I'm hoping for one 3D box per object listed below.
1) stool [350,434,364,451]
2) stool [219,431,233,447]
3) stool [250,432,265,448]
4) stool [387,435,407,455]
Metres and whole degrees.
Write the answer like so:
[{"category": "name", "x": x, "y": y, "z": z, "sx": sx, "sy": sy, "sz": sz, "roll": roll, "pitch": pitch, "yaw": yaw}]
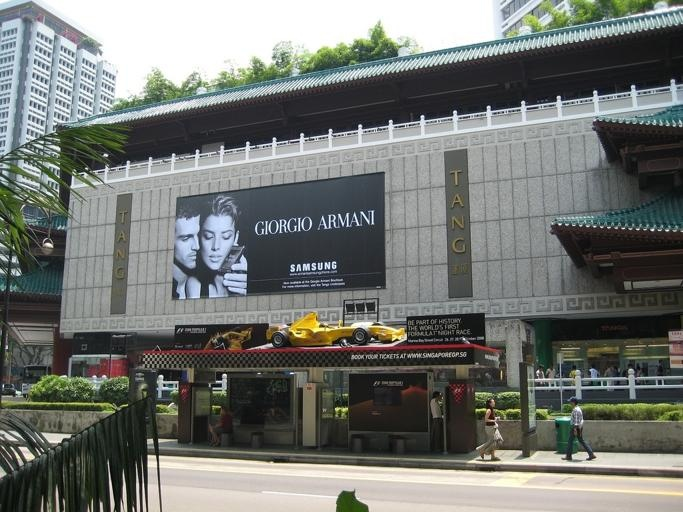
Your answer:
[{"category": "stool", "x": 0.644, "y": 7.340, "z": 30.199, "sx": 0.473, "sy": 0.680, "sz": 0.735, "roll": -2, "pitch": -13, "yaw": 0}, {"category": "stool", "x": -4.825, "y": 7.618, "z": 32.005, "sx": 0.463, "sy": 0.629, "sz": 0.652, "roll": -2, "pitch": -11, "yaw": 8}, {"category": "stool", "x": -3.447, "y": 7.574, "z": 31.738, "sx": 0.473, "sy": 0.630, "sz": 0.648, "roll": -1, "pitch": -6, "yaw": 6}, {"category": "stool", "x": 2.167, "y": 7.269, "z": 29.645, "sx": 0.596, "sy": 0.469, "sz": 0.637, "roll": -5, "pitch": -12, "yaw": 38}]
